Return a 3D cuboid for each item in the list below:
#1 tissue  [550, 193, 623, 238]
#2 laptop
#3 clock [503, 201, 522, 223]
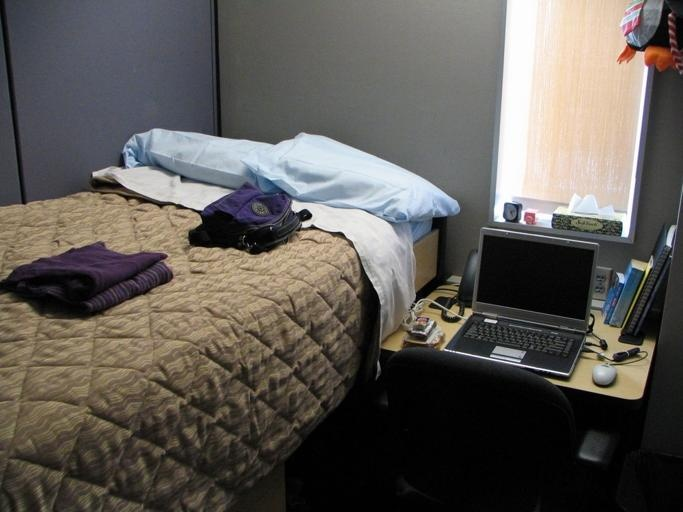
[{"bbox_3d":[1.101,-0.172,2.302,0.214,0.137,0.228,4,11,22],"label":"tissue "},{"bbox_3d":[0.707,0.189,2.010,0.567,0.400,0.571,11,31,27],"label":"laptop"},{"bbox_3d":[0.806,-0.205,2.437,0.082,0.112,0.062,8,12,43],"label":"clock"}]
